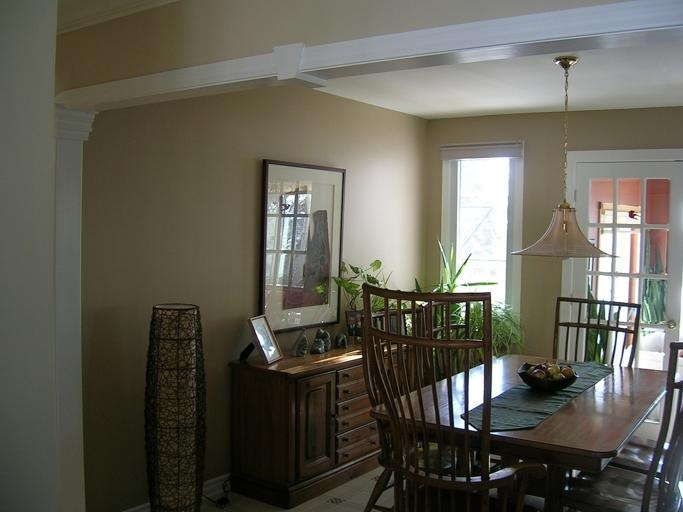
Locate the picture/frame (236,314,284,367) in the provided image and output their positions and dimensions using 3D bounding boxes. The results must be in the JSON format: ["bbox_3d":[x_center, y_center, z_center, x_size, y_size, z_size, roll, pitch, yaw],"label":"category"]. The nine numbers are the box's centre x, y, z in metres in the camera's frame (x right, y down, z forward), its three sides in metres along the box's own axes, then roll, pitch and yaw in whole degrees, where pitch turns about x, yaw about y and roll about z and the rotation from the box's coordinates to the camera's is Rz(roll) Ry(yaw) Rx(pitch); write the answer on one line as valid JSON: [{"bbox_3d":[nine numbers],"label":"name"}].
[{"bbox_3d":[-0.549,0.546,3.453,0.220,0.295,0.252,-5,1,12],"label":"picture/frame"}]

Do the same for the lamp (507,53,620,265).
[{"bbox_3d":[1.523,-0.605,3.724,0.813,1.306,2.201,3,3,28],"label":"lamp"}]

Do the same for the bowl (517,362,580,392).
[{"bbox_3d":[1.059,0.611,2.650,0.180,0.084,0.189,-4,-4,0],"label":"bowl"}]

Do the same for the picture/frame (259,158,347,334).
[{"bbox_3d":[-0.260,-0.075,3.880,0.066,1.210,0.868,4,4,41],"label":"picture/frame"}]
